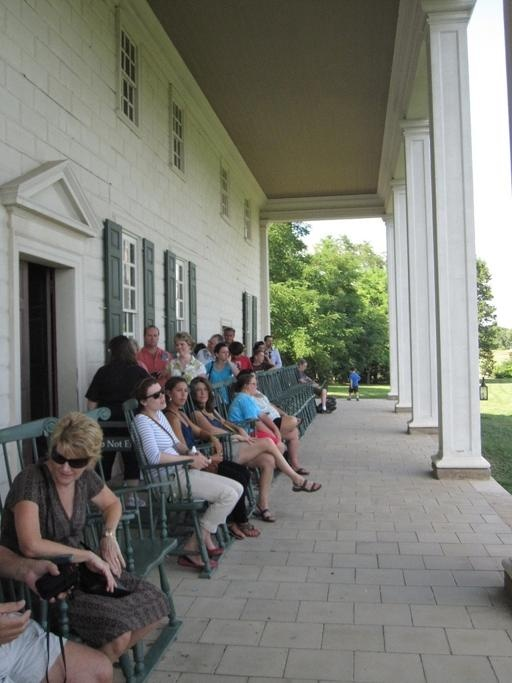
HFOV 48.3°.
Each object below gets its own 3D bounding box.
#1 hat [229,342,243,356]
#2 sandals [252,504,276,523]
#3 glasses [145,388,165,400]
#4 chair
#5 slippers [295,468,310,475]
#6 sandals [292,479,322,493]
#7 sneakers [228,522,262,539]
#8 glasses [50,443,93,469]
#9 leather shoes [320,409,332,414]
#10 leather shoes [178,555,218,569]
[{"bbox_3d":[-0.240,0.097,6.903,0.139,0.159,0.169,1,11,1],"label":"hat"},{"bbox_3d":[0.060,1.309,4.328,0.174,0.066,0.078,2,-2,37],"label":"sandals"},{"bbox_3d":[-0.580,0.310,3.306,0.115,0.058,0.077,-4,0,-33],"label":"glasses"},{"bbox_3d":[-0.487,0.880,2.907,1.811,1.199,1.286,0,2,-7],"label":"chair"},{"bbox_3d":[0.450,1.311,5.736,0.166,0.048,0.056,0,3,19],"label":"slippers"},{"bbox_3d":[0.434,1.254,4.909,0.274,0.110,0.114,-2,6,1],"label":"sandals"},{"bbox_3d":[-0.090,1.299,3.920,0.218,0.101,0.147,-3,0,1],"label":"sneakers"},{"bbox_3d":[-0.616,0.389,1.906,0.126,0.078,0.072,-4,0,-21],"label":"glasses"},{"bbox_3d":[1.565,1.589,12.913,0.242,0.097,0.085,0,3,6],"label":"leather shoes"},{"bbox_3d":[-0.345,1.257,3.336,0.183,0.063,0.094,0,1,25],"label":"leather shoes"}]
